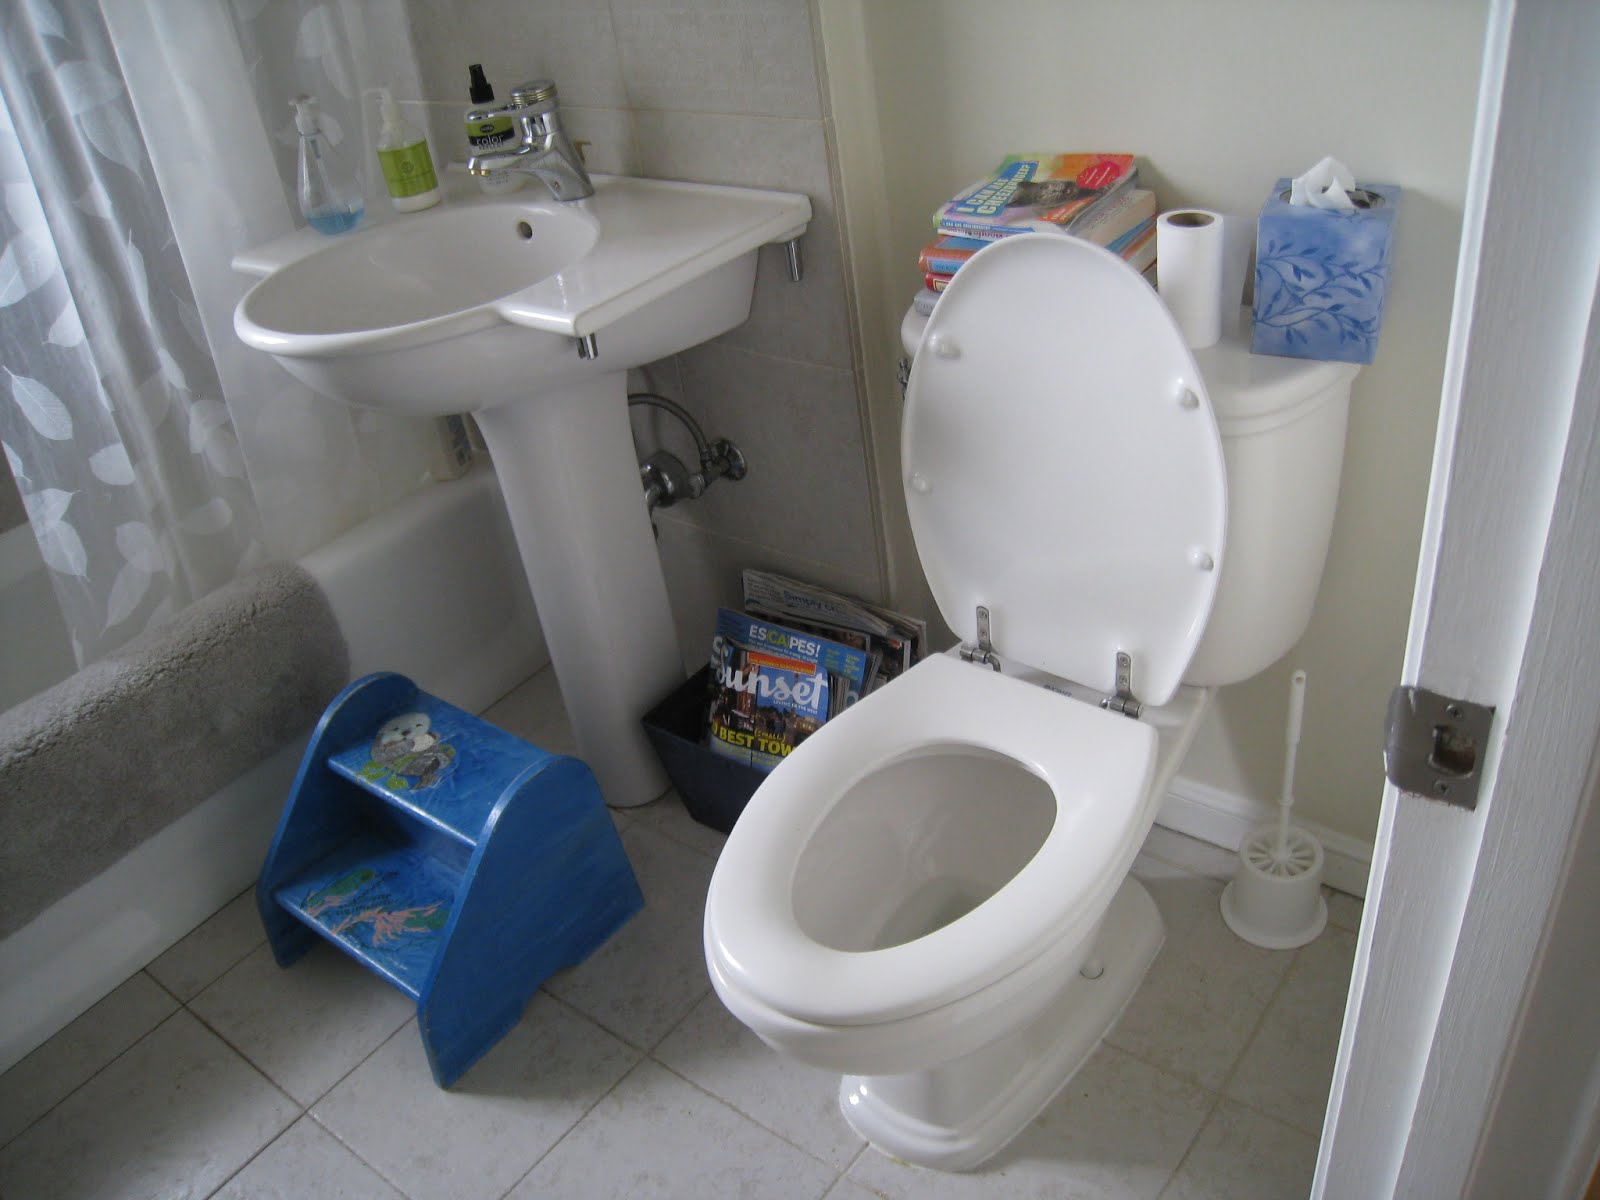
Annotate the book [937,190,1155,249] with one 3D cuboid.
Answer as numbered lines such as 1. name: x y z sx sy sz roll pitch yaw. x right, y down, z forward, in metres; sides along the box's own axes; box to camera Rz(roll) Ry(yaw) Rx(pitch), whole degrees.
1. book: 0.294 -0.449 1.390 0.101 0.027 0.114 15 47 38

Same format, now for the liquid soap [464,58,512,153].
1. liquid soap: -0.463 -0.728 1.734 0.072 0.111 0.084 -30 41 -34

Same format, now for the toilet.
1. toilet: 0.258 0.142 1.442 0.490 1.045 0.966 15 35 32

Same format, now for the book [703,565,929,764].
1. book: -0.008 0.110 1.908 0.285 0.315 0.070 13 -6 34

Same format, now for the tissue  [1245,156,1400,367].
1. tissue : 0.579 -0.385 1.318 0.138 0.204 0.131 9 35 20

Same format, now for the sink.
1. sink: -0.580 -0.410 1.775 0.392 0.152 0.356 -29 41 -29

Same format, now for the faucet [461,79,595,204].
1. faucet: -0.401 -0.682 1.752 0.202 0.191 0.086 2 45 9

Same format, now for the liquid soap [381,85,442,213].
1. liquid soap: -0.612 -0.695 1.816 0.076 0.163 0.112 -14 34 -15

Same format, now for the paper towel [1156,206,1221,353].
1. paper towel: 0.458 -0.389 1.377 0.083 0.140 0.155 8 36 18
